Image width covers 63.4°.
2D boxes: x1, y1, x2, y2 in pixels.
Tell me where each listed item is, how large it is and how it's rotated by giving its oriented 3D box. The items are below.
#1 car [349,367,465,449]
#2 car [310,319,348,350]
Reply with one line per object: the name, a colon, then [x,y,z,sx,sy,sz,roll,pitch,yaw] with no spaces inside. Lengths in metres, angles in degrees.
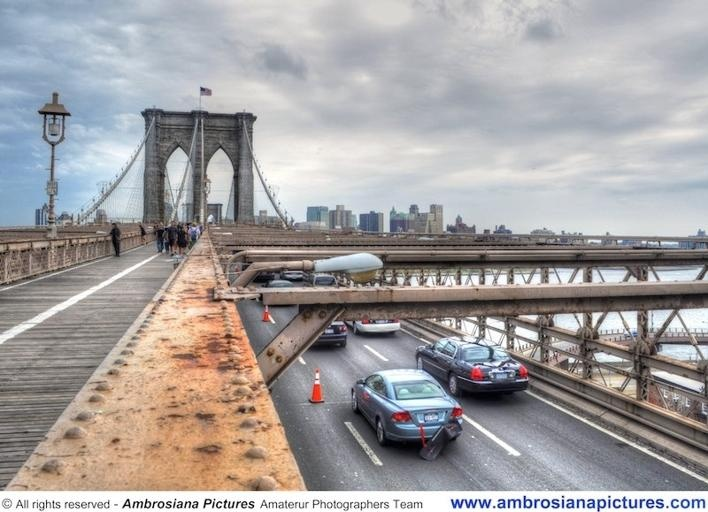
car: [1.170,3.798,14.944,1.323,0.898,2.914,1,1,-12]
car: [-0.995,3.430,25.814,1.400,0.964,2.872,0,2,-1]
